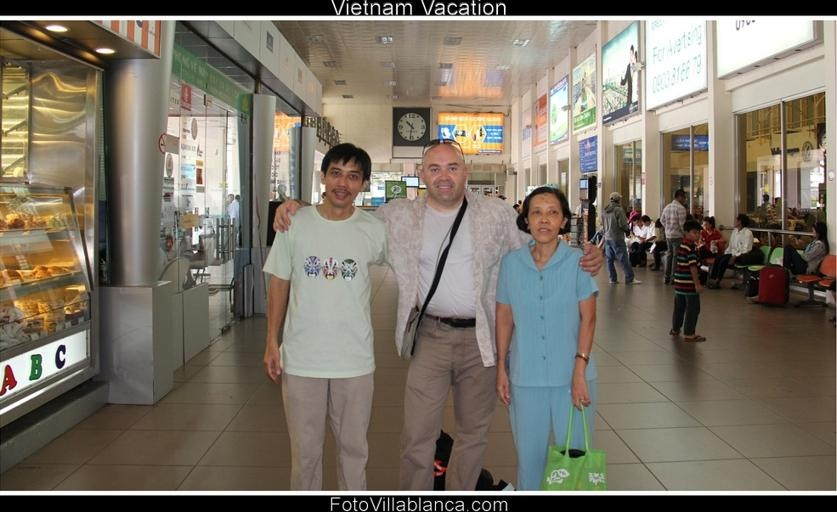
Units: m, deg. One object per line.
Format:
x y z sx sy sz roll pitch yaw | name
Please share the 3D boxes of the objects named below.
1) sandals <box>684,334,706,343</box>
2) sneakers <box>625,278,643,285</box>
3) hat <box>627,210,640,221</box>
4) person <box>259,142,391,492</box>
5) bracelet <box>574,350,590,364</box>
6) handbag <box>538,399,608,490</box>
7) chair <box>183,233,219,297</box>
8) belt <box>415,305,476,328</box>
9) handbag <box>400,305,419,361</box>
3.604 1.092 6.702 0.231 0.067 0.116 -1 7 5 | sandals
4.738 0.586 11.226 0.463 0.175 0.148 -1 5 -9 | sneakers
5.976 -1.070 14.256 0.330 0.189 0.384 -5 -2 9 | hat
-0.540 0.395 3.093 0.741 2.116 0.505 -3 10 -16 | person
0.958 0.594 2.990 0.081 0.039 0.071 13 0 40 | bracelet
0.866 1.073 2.880 0.326 0.385 0.349 2 10 13 | handbag
-2.773 0.058 6.594 0.552 0.733 0.571 1 2 -3 | chair
0.161 0.396 3.173 0.280 0.062 0.174 7 15 15 | belt
-0.061 0.490 3.190 0.083 0.277 0.178 9 -2 -21 | handbag
